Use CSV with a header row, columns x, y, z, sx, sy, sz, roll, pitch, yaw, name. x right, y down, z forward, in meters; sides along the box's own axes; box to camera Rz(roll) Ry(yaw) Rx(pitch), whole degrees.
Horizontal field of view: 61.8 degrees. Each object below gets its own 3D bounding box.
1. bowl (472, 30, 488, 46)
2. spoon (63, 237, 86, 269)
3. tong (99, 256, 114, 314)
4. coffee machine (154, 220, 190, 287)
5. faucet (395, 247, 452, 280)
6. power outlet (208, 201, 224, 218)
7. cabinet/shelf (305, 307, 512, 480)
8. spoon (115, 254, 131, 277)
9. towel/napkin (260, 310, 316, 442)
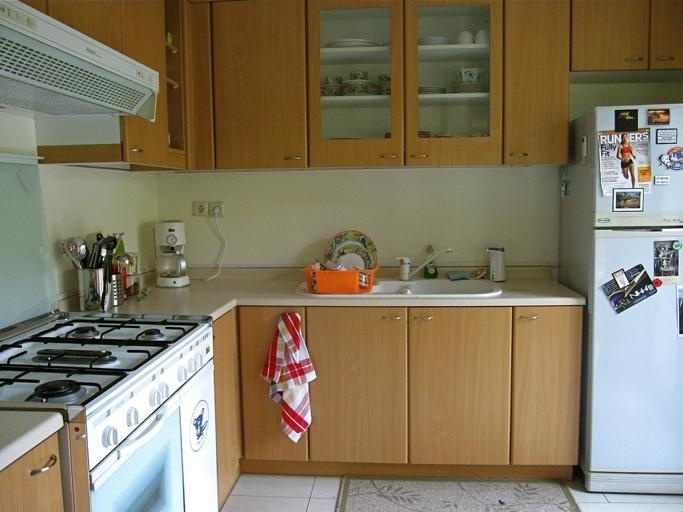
x,y,z,sx,sy,sz,roll,pitch,yaw,name
0.740,-1.154,3.031,0.073,0.080,0.014,-1,8,19,bowl
-1.201,-0.008,2.570,0.097,0.144,0.036,-6,8,-14,spoon
-1.106,0.125,2.673,0.076,0.264,0.152,-7,8,-23,tong
-0.989,-0.023,3.289,0.209,0.367,0.204,5,13,17,coffee machine
0.490,0.054,3.298,0.306,0.146,0.061,-6,-4,27,faucet
-0.772,-0.285,3.488,0.125,0.121,0.088,1,5,1,power outlet
0.346,0.698,3.107,1.074,0.757,0.397,0,-3,2,cabinet/shelf
-1.107,0.041,2.895,0.080,0.097,0.050,-4,2,-41,spoon
-0.272,0.617,2.938,0.286,0.665,0.112,-5,8,-6,towel/napkin
